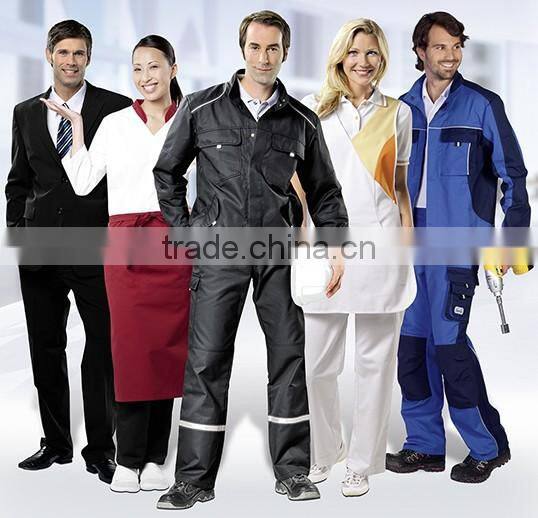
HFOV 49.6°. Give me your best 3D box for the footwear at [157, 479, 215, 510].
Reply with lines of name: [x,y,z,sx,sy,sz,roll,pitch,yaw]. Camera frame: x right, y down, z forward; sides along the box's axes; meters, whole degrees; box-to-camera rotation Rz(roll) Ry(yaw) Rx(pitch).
footwear: [-0.283,0.802,2.027,0.215,0.114,0.080,6,-8,-30]

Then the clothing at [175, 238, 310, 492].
clothing: [-0.053,0.260,2.004,0.473,1.164,0.244,1,24,-5]

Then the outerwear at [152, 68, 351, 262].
outerwear: [-0.043,-0.322,2.072,0.660,0.652,0.263,3,1,-8]

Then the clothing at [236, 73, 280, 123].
clothing: [-0.038,-0.545,1.999,0.112,0.162,0.083,5,7,-4]

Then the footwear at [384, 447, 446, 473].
footwear: [0.694,0.955,2.746,0.237,0.130,0.111,6,-9,-8]

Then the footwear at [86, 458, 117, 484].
footwear: [-0.728,0.910,2.532,0.063,0.080,0.169,5,-3,-42]

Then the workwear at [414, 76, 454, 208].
workwear: [0.727,-0.445,2.701,0.157,0.770,0.099,7,10,26]

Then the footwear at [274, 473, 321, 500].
footwear: [0.104,0.808,2.058,0.071,0.078,0.182,5,-11,-29]

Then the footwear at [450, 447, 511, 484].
footwear: [0.967,0.950,2.674,0.264,0.132,0.106,-9,2,-27]

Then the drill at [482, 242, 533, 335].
drill: [1.121,0.152,2.743,0.214,0.456,0.490,1,2,25]

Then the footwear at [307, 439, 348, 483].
footwear: [0.251,0.912,2.591,0.240,0.098,0.081,-35,-2,-23]

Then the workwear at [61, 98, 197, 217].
workwear: [-0.544,-0.386,2.293,0.450,0.378,0.141,2,-15,1]

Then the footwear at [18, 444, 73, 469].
footwear: [-1.034,0.907,2.727,0.258,0.122,0.092,2,-5,-23]
